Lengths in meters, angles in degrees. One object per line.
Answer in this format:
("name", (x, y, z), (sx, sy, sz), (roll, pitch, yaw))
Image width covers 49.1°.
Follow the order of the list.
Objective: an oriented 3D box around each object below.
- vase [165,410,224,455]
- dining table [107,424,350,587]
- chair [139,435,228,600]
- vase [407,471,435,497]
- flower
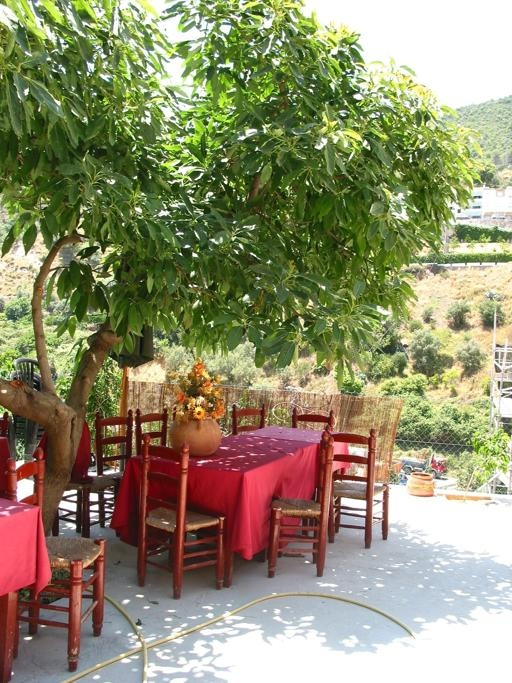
("vase", (-0.349, 0.541, 3.370), (0.272, 0.194, 0.259), (2, 0, 3))
("dining table", (0.039, 0.939, 3.547), (0.730, 0.314, 1.278), (-1, -2, 28))
("chair", (-0.417, 0.944, 3.228), (0.500, 0.645, 0.893), (4, -3, -8))
("vase", (1.679, 1.408, 5.746), (0.278, 0.205, 0.275), (1, 3, 35))
("flower", (-0.397, 0.285, 3.599), (0.378, 0.490, 0.404), (-3, 7, -41))
